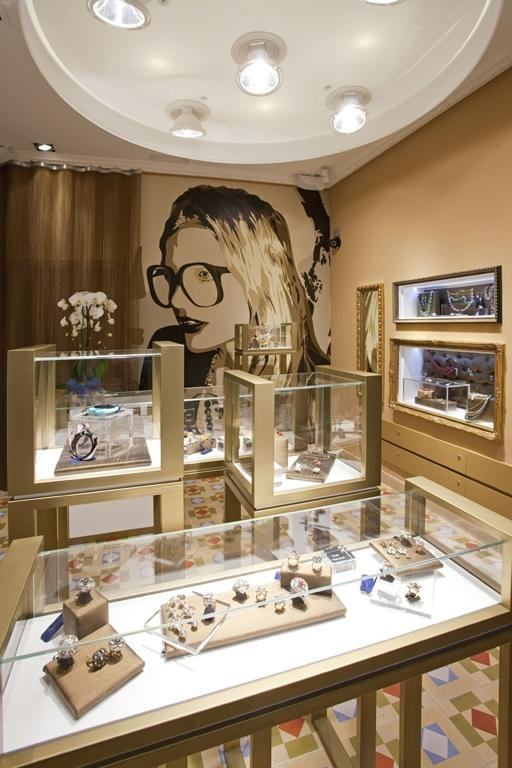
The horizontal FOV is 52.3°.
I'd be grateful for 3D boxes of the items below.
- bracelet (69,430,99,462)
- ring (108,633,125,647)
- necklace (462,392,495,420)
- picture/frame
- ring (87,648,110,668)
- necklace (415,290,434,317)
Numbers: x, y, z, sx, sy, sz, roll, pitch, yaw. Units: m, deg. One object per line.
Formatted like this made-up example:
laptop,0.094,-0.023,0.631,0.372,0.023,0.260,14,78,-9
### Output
bracelet,-0.718,0.255,2.147,0.097,0.129,0.044,14,-4,-1
ring,-0.301,0.549,1.116,0.035,0.045,0.006,1,-1,-12
necklace,1.468,0.154,3.450,0.060,0.180,0.123,23,3,-10
picture/frame,1.058,-0.480,4.818,0.059,0.868,0.442,-4,8,-17
ring,-0.339,0.584,1.118,0.041,0.026,0.033,-7,1,13
necklace,1.310,-0.629,4.042,0.069,0.217,0.220,0,3,-5
